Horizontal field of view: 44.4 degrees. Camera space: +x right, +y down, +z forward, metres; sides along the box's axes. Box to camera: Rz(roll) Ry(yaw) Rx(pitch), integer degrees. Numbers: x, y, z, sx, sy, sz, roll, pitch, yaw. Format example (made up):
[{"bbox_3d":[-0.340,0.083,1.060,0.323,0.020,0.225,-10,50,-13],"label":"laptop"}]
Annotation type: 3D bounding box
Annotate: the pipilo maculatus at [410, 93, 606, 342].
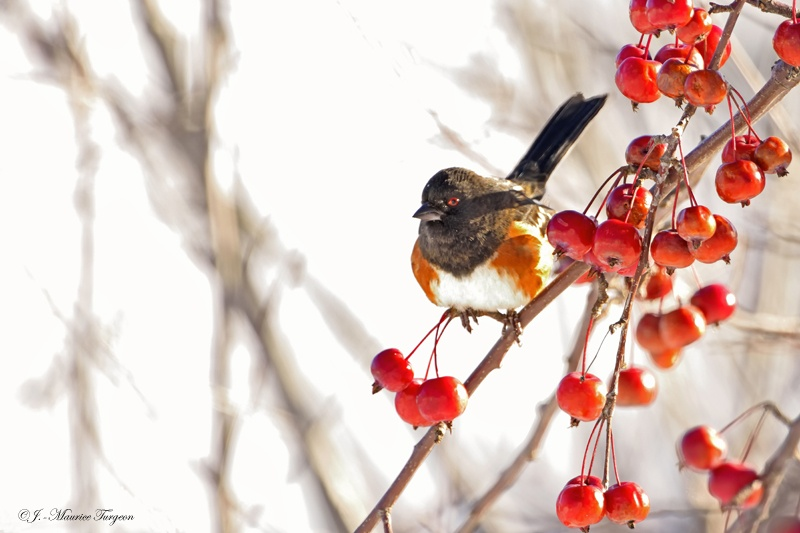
[{"bbox_3d":[0.381,-0.253,3.194,0.374,0.937,0.611,8,-46,37],"label":"pipilo maculatus"}]
